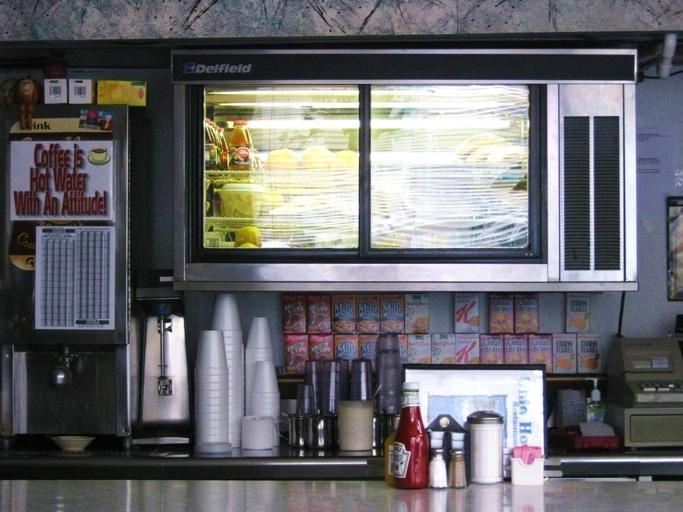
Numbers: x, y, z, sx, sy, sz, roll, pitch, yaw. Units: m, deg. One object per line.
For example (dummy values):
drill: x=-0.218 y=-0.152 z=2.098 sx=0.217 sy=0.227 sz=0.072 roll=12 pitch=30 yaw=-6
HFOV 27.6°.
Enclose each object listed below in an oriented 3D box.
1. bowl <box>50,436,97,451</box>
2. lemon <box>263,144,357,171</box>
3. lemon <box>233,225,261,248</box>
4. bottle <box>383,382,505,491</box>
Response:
bowl: x=-1.395 y=0.969 z=7.220 sx=0.206 sy=0.078 sz=0.203 roll=1 pitch=-3 yaw=0
lemon: x=-0.165 y=-0.575 z=7.535 sx=0.442 sy=0.116 sz=0.136 roll=0 pitch=-5 yaw=6
lemon: x=-0.511 y=-0.106 z=7.416 sx=0.158 sy=0.118 sz=0.113 roll=-14 pitch=17 yaw=-2
bottle: x=0.474 y=0.818 z=6.233 sx=0.552 sy=0.443 sz=0.188 roll=1 pitch=-3 yaw=-12
